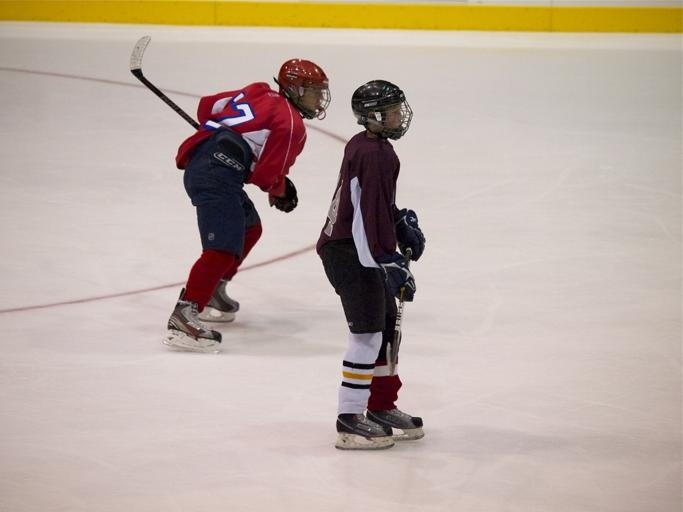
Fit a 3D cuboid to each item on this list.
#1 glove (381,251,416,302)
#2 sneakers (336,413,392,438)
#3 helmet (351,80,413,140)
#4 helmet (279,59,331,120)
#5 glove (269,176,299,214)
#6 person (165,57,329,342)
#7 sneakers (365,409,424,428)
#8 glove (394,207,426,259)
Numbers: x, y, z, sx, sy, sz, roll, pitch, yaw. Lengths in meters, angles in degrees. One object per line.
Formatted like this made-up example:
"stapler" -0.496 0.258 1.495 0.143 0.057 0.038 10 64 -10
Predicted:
"glove" 0.234 0.088 3.864 0.077 0.211 0.152 -9 17 47
"sneakers" 0.108 0.750 3.944 0.216 0.102 0.137 1 11 -37
"helmet" 0.184 -0.661 4.064 0.312 0.232 0.207 -2 15 14
"helmet" -0.222 -0.892 4.747 0.338 0.264 0.245 17 13 -5
"glove" -0.299 -0.340 4.957 0.169 0.182 0.084 20 19 32
"person" -0.533 -0.299 4.714 0.729 1.531 0.526 4 11 -28
"sneakers" 0.242 0.727 4.007 0.262 0.082 0.084 1 -2 7
"glove" 0.312 -0.103 4.059 0.103 0.211 0.141 -20 -8 -4
